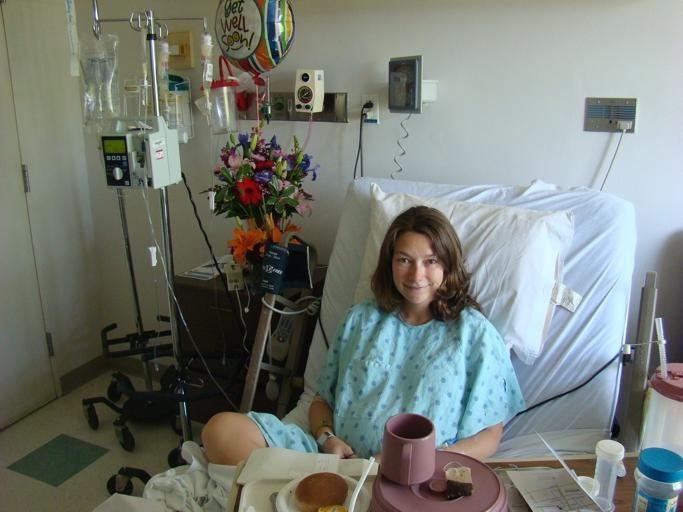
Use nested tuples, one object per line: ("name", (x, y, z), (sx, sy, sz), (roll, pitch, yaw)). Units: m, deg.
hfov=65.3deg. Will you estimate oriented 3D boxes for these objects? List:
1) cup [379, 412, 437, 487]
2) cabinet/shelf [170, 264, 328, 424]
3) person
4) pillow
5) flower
("cup", (0.148, 0.414, 1.191), (0.107, 0.109, 0.139), (7, 21, 20))
("cabinet/shelf", (-0.376, 0.358, 2.256), (0.561, 0.585, 0.344), (7, 15, 17))
("person", (0.086, 0.308, 1.888), (0.814, 1.004, 0.914), (10, 0, -44))
("pillow", (0.455, 0.039, 1.933), (0.595, 0.642, 0.194), (8, -22, 7))
("flower", (-0.361, -0.242, 2.358), (0.437, 0.568, 0.488), (-6, 33, -24))
